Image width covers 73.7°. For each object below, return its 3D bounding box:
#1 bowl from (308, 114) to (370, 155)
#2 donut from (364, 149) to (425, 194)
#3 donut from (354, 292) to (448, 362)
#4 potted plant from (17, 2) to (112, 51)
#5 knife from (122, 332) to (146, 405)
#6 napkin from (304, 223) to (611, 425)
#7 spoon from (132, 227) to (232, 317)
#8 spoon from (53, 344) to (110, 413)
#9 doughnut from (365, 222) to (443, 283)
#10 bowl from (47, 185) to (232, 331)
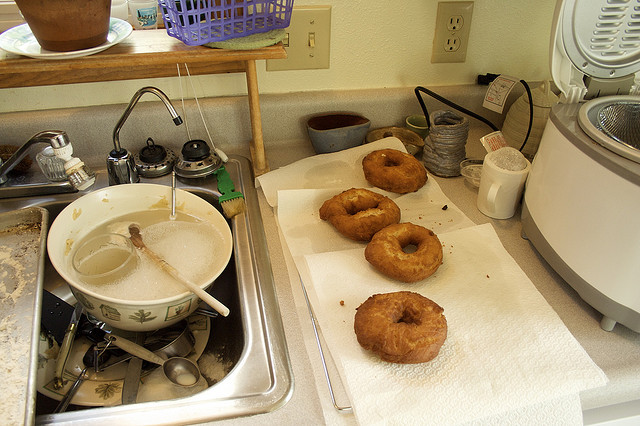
[{"bbox_3d":[0.056,-0.231,1.210,0.188,0.126,0.108,-9,41,-10],"label":"bowl"},{"bbox_3d":[0.195,-0.111,1.138,0.160,0.067,0.105,17,45,21],"label":"donut"},{"bbox_3d":[0.150,0.215,0.813,0.169,0.063,0.130,0,42,3],"label":"donut"},{"bbox_3d":[-0.509,-0.395,0.850,0.124,0.089,0.122,-8,33,-13],"label":"potted plant"},{"bbox_3d":[-0.384,0.335,0.896,0.024,0.006,0.119,11,48,-3],"label":"knife"},{"bbox_3d":[0.242,0.202,0.857,0.459,0.080,0.398,-12,42,-10],"label":"napkin"},{"bbox_3d":[-0.297,0.115,0.894,0.281,0.032,0.043,39,32,19],"label":"spoon"},{"bbox_3d":[-0.494,0.343,0.902,0.046,0.017,0.153,20,40,4],"label":"spoon"},{"bbox_3d":[0.185,0.073,0.956,0.161,0.055,0.163,5,44,13],"label":"doughnut"},{"bbox_3d":[-0.384,0.121,0.948,0.368,0.172,0.373,9,30,-5],"label":"bowl"}]
